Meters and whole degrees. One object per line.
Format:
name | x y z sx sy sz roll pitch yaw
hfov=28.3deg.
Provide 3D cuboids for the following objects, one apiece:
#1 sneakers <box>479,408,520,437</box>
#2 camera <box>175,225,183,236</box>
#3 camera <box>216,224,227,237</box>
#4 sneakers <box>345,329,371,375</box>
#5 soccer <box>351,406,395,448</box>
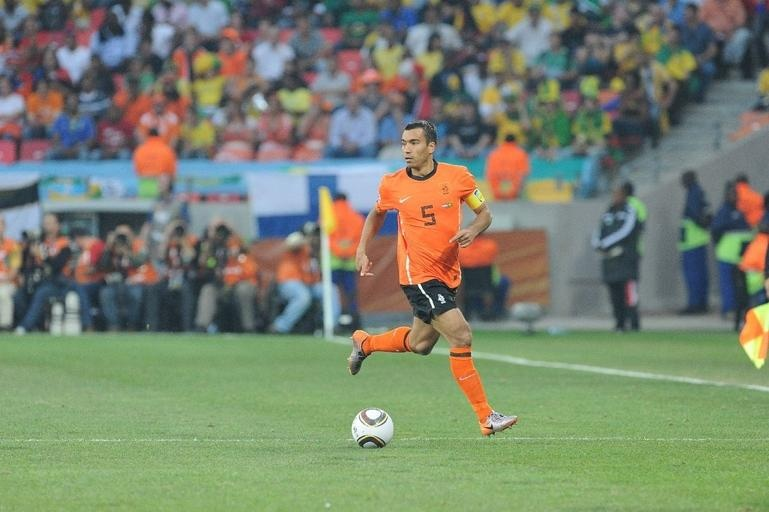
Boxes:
sneakers | 1.269 1.728 16.085 0.497 0.257 0.182 -22 17 34
camera | -2.765 -0.340 20.499 0.145 0.131 0.047 -2 2 -22
camera | -2.215 -0.349 20.746 0.141 0.183 0.182 1 2 37
sneakers | -0.305 1.071 16.884 0.275 0.520 0.194 7 8 13
soccer | -0.135 1.802 16.128 0.416 0.396 0.217 -1 2 -5
